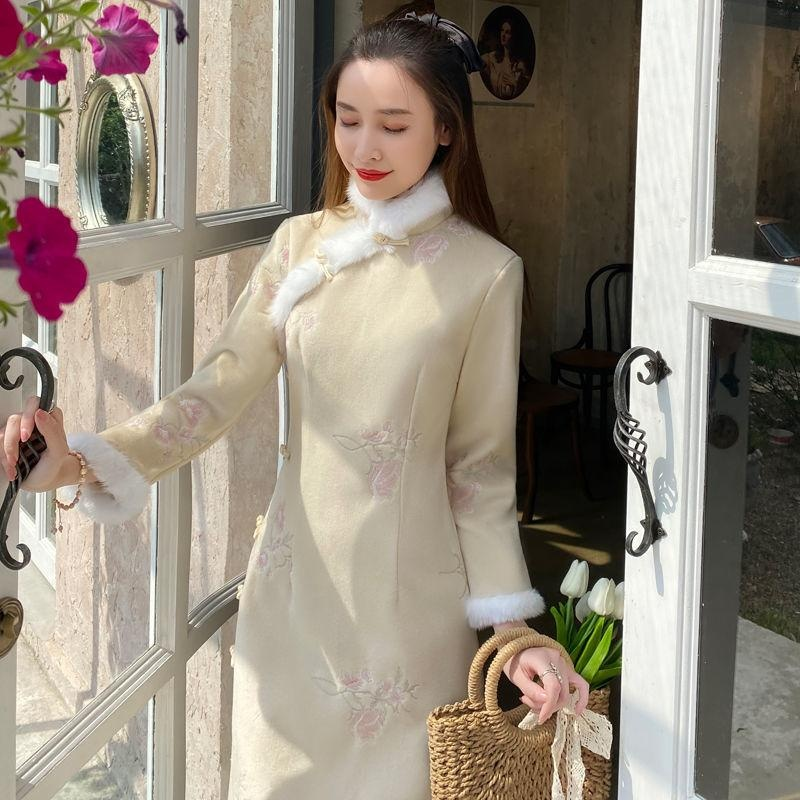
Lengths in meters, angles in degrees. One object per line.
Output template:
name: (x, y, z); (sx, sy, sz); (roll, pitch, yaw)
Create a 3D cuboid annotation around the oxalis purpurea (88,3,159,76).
oxalis purpurea: (-0.182, -0.243, 0.565); (0.041, 0.050, 0.059); (-4, 10, -20)

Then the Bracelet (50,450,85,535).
Bracelet: (-0.393, 0.108, 1.028); (0.019, 0.104, 0.045); (-1, 15, -43)

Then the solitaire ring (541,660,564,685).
solitaire ring: (0.190, 0.340, 1.058); (0.016, 0.009, 0.024); (22, 36, -32)
